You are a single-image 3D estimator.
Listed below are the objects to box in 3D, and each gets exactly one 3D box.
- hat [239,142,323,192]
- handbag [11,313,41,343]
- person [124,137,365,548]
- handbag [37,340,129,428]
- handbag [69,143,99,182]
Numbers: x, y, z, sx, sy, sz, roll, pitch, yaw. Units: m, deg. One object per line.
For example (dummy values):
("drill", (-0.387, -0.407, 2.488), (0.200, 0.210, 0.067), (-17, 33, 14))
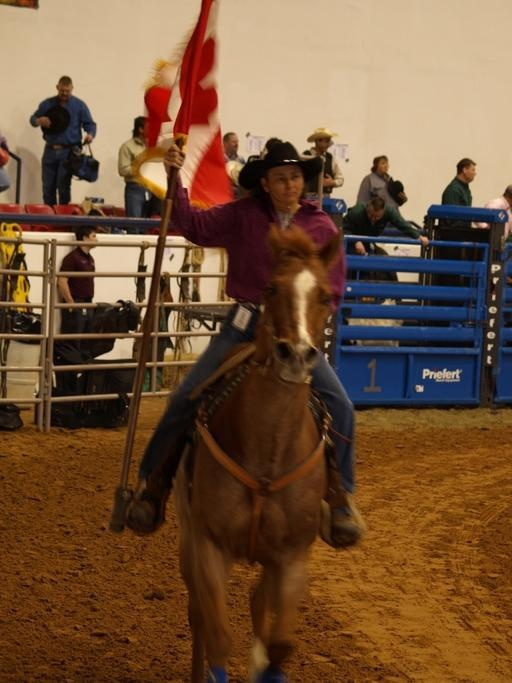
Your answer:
("hat", (0.052, -0.794, 3.252), (0.259, 0.096, 0.272), (-10, -10, -8))
("handbag", (-2.434, -0.131, 7.891), (0.308, 0.332, 0.482), (2, 5, -17))
("person", (-0.010, -0.047, 3.130), (1.068, 1.572, 0.800), (4, -6, 6))
("handbag", (-1.714, 0.475, 7.960), (0.855, 0.907, 0.337), (3, 4, -14))
("handbag", (-2.969, -3.042, 12.872), (0.649, 0.567, 0.277), (6, 6, 33))
